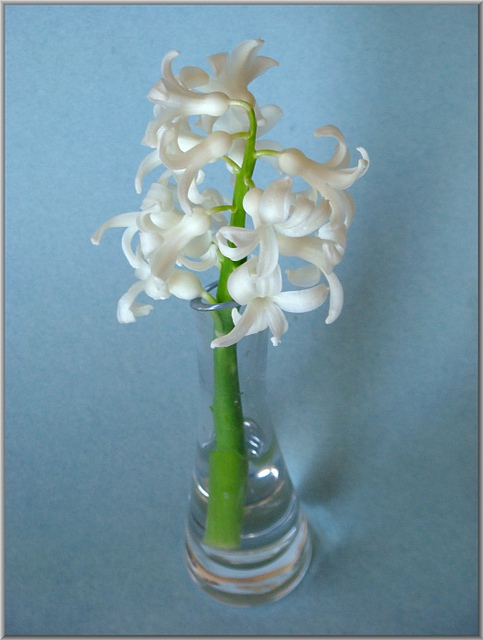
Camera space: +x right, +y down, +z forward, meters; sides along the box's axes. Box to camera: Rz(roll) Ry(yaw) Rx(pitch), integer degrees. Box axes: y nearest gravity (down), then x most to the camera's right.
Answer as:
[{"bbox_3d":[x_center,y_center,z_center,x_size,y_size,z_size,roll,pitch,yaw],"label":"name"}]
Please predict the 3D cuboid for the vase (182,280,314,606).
[{"bbox_3d":[0.002,0.185,0.896,0.183,0.399,0.282,-4,1,-1],"label":"vase"}]

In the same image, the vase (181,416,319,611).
[{"bbox_3d":[0.009,0.277,0.938,0.223,0.254,0.201,0,39,3],"label":"vase"}]
